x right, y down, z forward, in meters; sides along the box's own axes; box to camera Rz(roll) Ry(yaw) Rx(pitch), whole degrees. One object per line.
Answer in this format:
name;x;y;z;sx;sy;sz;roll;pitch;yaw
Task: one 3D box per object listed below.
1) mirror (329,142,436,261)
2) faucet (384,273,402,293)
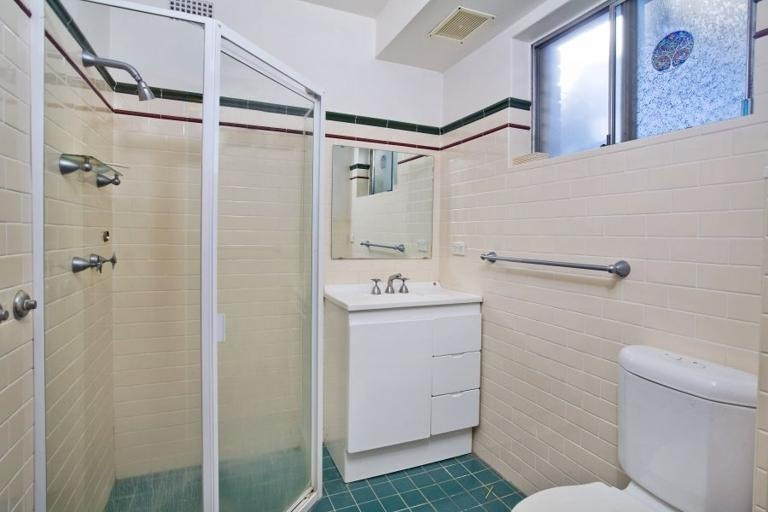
mirror;-0.043;-0.377;3.499;0.848;0.850;0.019;0;1;-18
faucet;0.052;0.192;3.409;0.122;0.134;0.099;-1;-1;36
